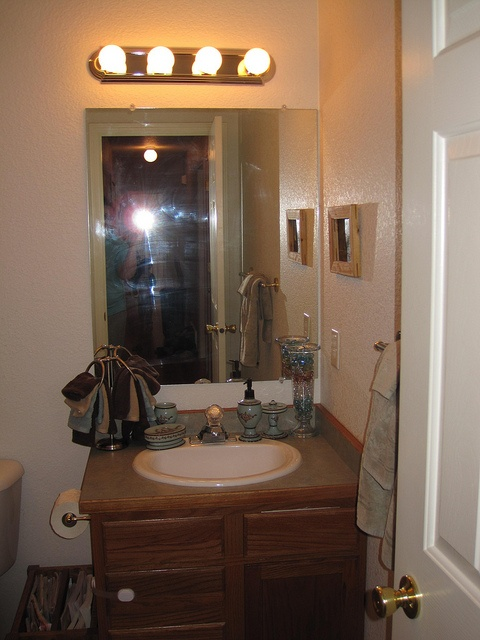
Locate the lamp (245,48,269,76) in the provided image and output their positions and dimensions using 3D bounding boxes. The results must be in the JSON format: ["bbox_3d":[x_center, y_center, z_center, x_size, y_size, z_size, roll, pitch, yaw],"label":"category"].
[{"bbox_3d":[0.065,-0.889,1.769,0.100,0.079,0.062,-5,9,-11],"label":"lamp"}]

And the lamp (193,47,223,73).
[{"bbox_3d":[-0.112,-0.880,1.743,0.102,0.083,0.047,-4,9,-4],"label":"lamp"}]

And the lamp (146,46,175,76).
[{"bbox_3d":[-0.269,-0.874,1.730,0.091,0.083,0.042,-5,9,-10],"label":"lamp"}]

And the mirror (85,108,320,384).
[{"bbox_3d":[-0.152,-0.305,1.825,0.899,1.248,0.054,-2,11,-6],"label":"mirror"}]

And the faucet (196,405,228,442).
[{"bbox_3d":[-0.095,0.343,1.694,0.098,0.106,0.070,-4,9,-8],"label":"faucet"}]

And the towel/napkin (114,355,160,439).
[{"bbox_3d":[-0.346,0.262,1.698,0.133,0.292,0.253,-1,6,-23],"label":"towel/napkin"}]

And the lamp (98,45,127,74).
[{"bbox_3d":[-0.425,-0.868,1.709,0.093,0.078,0.052,-5,9,-15],"label":"lamp"}]
